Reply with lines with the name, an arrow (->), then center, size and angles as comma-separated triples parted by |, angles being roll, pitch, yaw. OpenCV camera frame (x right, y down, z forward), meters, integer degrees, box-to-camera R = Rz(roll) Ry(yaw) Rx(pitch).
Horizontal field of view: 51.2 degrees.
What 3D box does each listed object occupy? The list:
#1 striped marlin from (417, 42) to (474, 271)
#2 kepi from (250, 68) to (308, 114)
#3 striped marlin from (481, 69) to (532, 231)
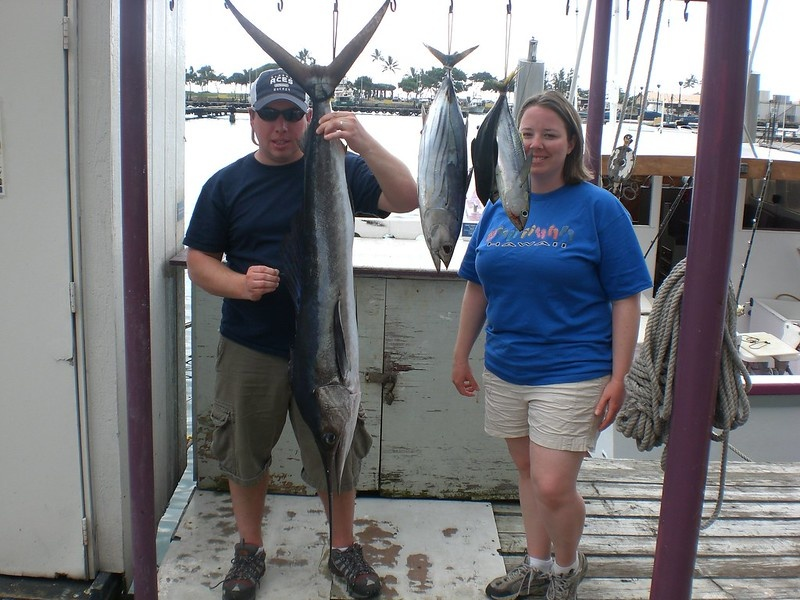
striped marlin -> 0.145, -0.400, 2.692 | 0.168, 0.578, 0.272 | 4, 8, 17
kepi -> -0.438, -0.768, 3.055 | 0.230, 0.168, 0.320 | -2, 4, -1
striped marlin -> 0.346, -0.483, 2.632 | 0.170, 0.521, 0.121 | -7, 10, 19
